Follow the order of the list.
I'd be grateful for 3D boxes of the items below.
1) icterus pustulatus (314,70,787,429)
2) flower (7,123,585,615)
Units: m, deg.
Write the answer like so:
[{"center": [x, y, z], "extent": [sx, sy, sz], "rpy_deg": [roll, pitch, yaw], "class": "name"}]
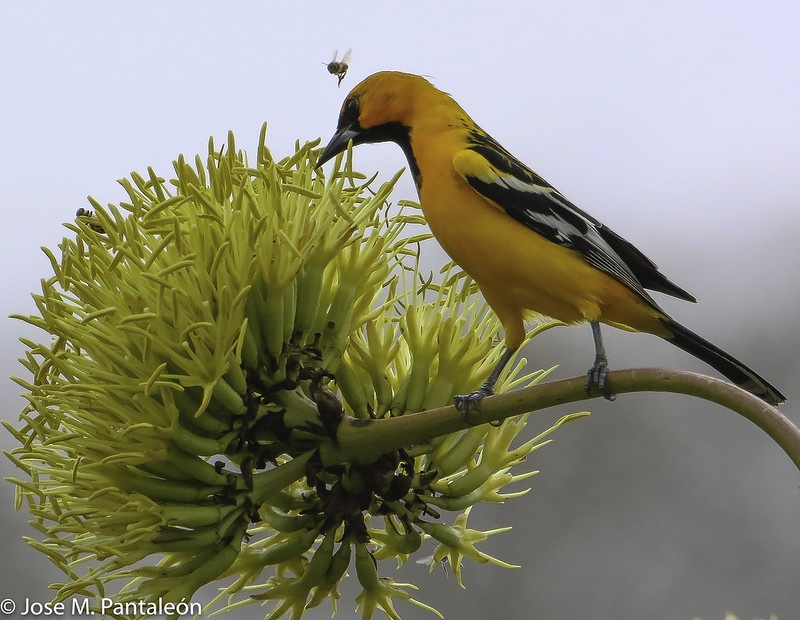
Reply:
[{"center": [0.255, -0.116, 1.901], "extent": [0.938, 0.492, 0.246], "rpy_deg": [11, -17, -18], "class": "icterus pustulatus"}, {"center": [-0.204, 0.128, 1.808], "extent": [0.800, 0.831, 0.465], "rpy_deg": [-5, -5, -38], "class": "flower"}]
